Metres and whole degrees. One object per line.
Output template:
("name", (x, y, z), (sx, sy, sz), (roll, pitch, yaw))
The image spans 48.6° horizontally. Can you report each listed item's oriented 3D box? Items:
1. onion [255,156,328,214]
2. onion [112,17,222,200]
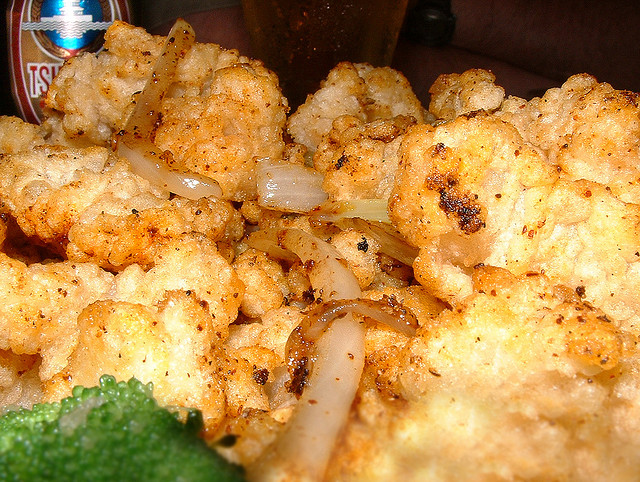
("onion", (-0.074, -0.140, 1.763), (0.180, 0.082, 0.122), (3, 63, 2))
("onion", (-0.403, -0.320, 1.743), (0.239, 0.130, 0.495), (-10, 63, -4))
